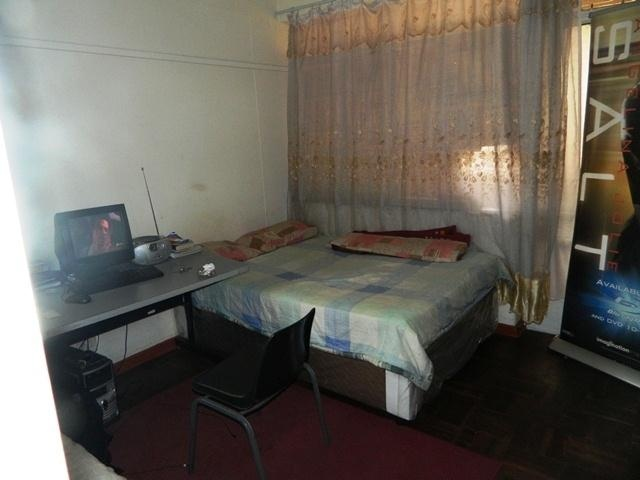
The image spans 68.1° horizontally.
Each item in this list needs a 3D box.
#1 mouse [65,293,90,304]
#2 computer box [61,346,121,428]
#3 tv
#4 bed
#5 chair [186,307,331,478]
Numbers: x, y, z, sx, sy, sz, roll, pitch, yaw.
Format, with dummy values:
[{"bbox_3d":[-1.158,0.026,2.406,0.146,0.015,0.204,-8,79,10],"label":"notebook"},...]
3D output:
[{"bbox_3d":[-1.373,0.330,2.677,0.175,0.055,0.075,-1,15,24],"label":"mouse"},{"bbox_3d":[-1.426,0.949,2.940,0.338,0.383,0.210,-3,5,35],"label":"computer box"},{"bbox_3d":[-1.418,0.019,2.970,0.194,0.367,0.373,2,16,38],"label":"tv"},{"bbox_3d":[0.138,0.478,3.232,1.323,0.489,1.359,7,17,37],"label":"bed"},{"bbox_3d":[-0.320,0.907,2.744,0.528,0.874,0.551,14,21,24],"label":"chair"}]
